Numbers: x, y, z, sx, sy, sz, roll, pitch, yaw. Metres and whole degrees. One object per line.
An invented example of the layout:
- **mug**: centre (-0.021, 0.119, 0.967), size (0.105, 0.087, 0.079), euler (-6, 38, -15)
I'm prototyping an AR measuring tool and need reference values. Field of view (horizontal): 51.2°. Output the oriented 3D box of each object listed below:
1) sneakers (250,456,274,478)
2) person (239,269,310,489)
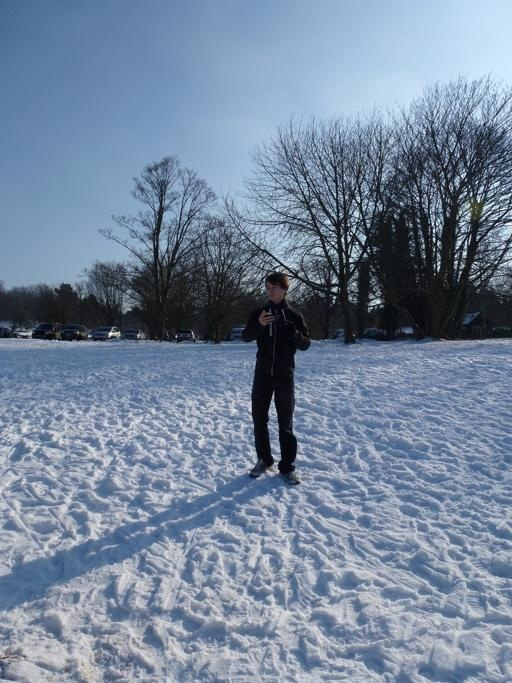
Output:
- **sneakers**: centre (0.048, 1.261, 5.317), size (0.106, 0.151, 0.307), euler (-4, -5, 34)
- **person**: centre (0.182, 0.357, 5.055), size (0.603, 1.996, 0.387), euler (2, 8, 6)
